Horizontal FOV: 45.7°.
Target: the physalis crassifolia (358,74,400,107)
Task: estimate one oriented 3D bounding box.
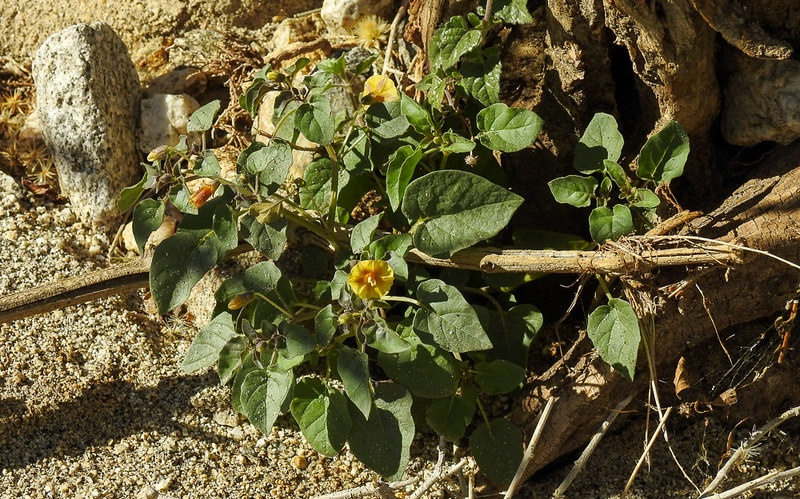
[{"bbox_3d":[-0.129,-0.895,5.363,0.181,0.077,0.166,-15,76,-5],"label":"physalis crassifolia"}]

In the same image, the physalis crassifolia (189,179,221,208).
[{"bbox_3d":[-1.080,-0.304,5.233,0.197,0.102,0.078,-45,-4,2],"label":"physalis crassifolia"}]

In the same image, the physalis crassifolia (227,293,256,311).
[{"bbox_3d":[-0.877,0.297,5.258,0.128,0.044,0.081,-29,41,-27],"label":"physalis crassifolia"}]
